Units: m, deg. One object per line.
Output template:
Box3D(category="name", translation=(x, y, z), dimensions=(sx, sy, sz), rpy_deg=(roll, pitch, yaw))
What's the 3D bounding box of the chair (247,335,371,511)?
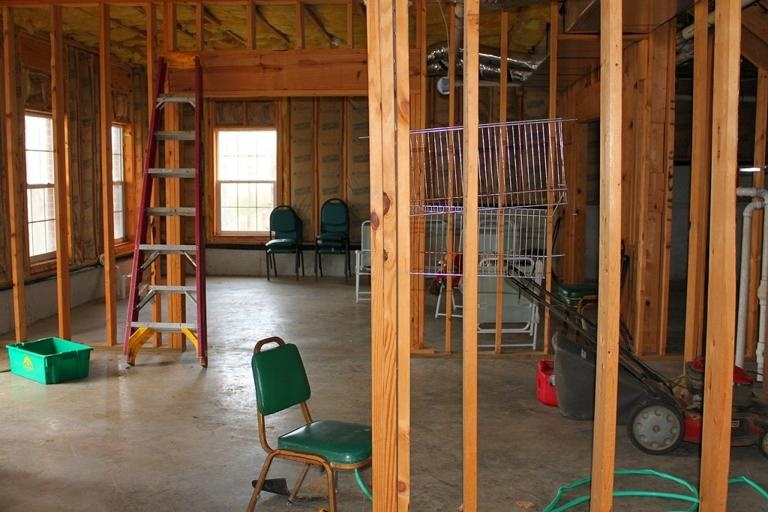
Box3D(category="chair", translation=(-0.518, 1.233, 5.357), dimensions=(0.899, 1.255, 0.467), rpy_deg=(-1, 3, 7))
